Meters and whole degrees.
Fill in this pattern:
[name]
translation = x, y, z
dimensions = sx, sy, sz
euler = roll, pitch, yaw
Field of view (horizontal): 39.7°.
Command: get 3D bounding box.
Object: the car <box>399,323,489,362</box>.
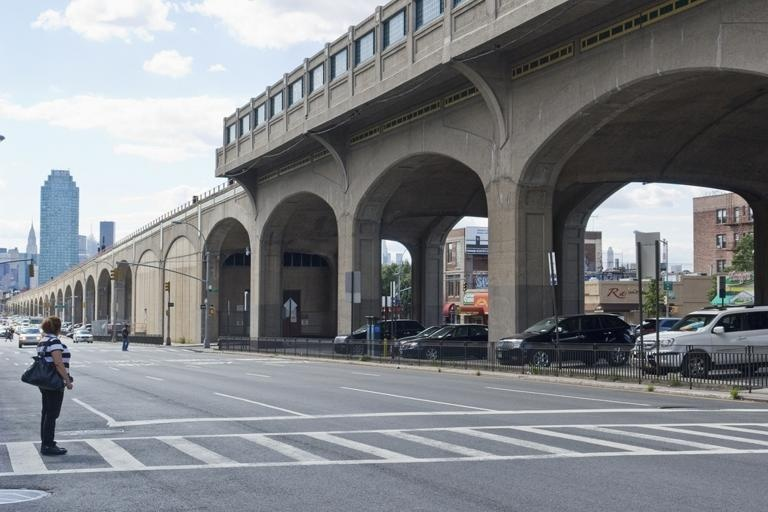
[car]
translation = 3.469, 4.063, 50.265
dimensions = 4.661, 1.546, 1.738
euler = 1, -2, -22

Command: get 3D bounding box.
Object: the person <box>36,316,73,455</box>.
[person]
translation = -8.739, 3.402, 28.356
dimensions = 1.142, 3.506, 1.266
euler = 0, 0, -3

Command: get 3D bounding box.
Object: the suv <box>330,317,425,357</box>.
[suv]
translation = 0.148, 4.090, 57.632
dimensions = 4.596, 1.739, 2.149
euler = 2, -6, -20
